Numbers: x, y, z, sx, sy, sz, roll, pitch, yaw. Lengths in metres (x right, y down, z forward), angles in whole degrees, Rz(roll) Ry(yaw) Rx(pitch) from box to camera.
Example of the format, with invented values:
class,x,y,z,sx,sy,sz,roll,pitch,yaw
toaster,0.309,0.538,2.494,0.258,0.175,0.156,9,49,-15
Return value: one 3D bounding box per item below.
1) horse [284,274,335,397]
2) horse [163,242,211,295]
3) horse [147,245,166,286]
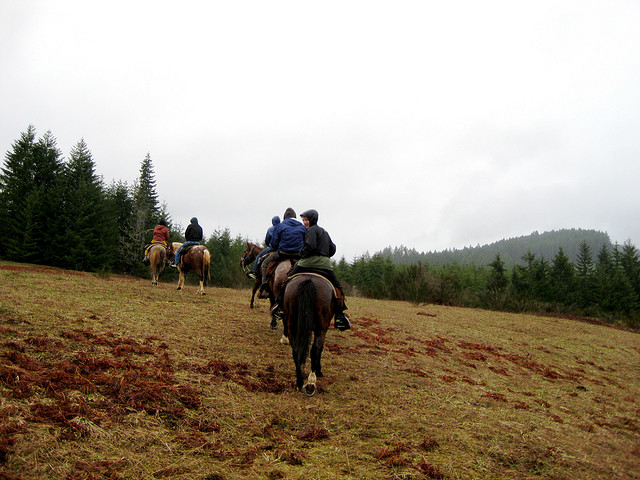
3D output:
class,x,y,z,sx,sy,sz,roll,pitch,yaw
horse,-0.333,1.941,9.559,0.964,1.804,0.987,6,3,10
horse,-5.387,1.163,18.491,2.948,2.293,0.803,-4,-6,40
horse,-7.083,0.886,19.779,0.746,2.110,2.669,3,1,-22
